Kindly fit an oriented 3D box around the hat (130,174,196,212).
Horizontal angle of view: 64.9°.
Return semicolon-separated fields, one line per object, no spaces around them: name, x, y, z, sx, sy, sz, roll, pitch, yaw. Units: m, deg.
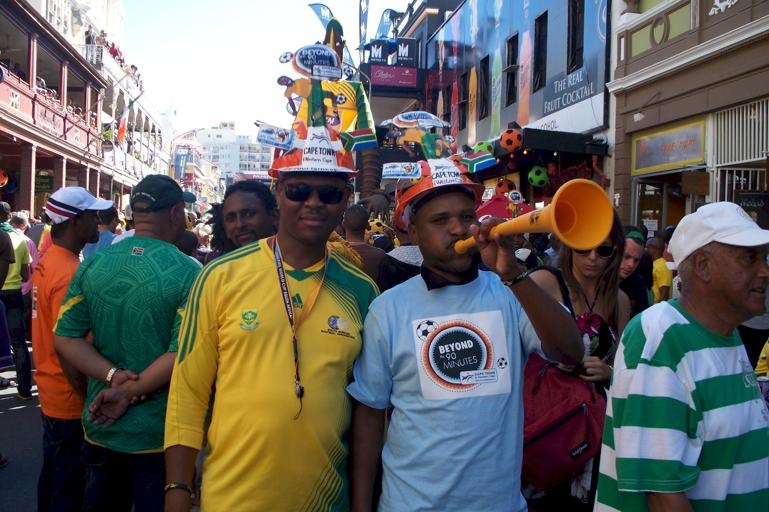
hat;-1.748;-0.476;4.787;0.263;0.234;0.387;7;23;41

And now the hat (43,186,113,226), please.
hat;-2.792;-0.465;5.535;0.481;0.274;0.318;-9;12;-21

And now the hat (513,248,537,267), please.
hat;1.484;0.026;6.390;0.222;0.167;0.281;-3;17;-31

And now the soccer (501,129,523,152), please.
soccer;2.894;-2.603;13.821;0.436;0.545;0.455;17;16;6

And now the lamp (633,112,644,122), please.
lamp;5.442;-2.980;12.988;0.046;0.202;0.328;1;-3;-16

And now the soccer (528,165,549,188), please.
soccer;3.847;-1.912;15.213;0.455;0.495;0.554;-3;-40;-11

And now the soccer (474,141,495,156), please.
soccer;2.546;-2.746;15.531;0.220;0.378;0.672;2;-4;-29

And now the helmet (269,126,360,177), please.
helmet;-0.520;-0.689;4.101;0.461;0.260;0.377;-11;-6;37

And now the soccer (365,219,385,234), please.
soccer;-0.157;-0.482;10.372;0.261;0.246;0.240;12;-27;17
